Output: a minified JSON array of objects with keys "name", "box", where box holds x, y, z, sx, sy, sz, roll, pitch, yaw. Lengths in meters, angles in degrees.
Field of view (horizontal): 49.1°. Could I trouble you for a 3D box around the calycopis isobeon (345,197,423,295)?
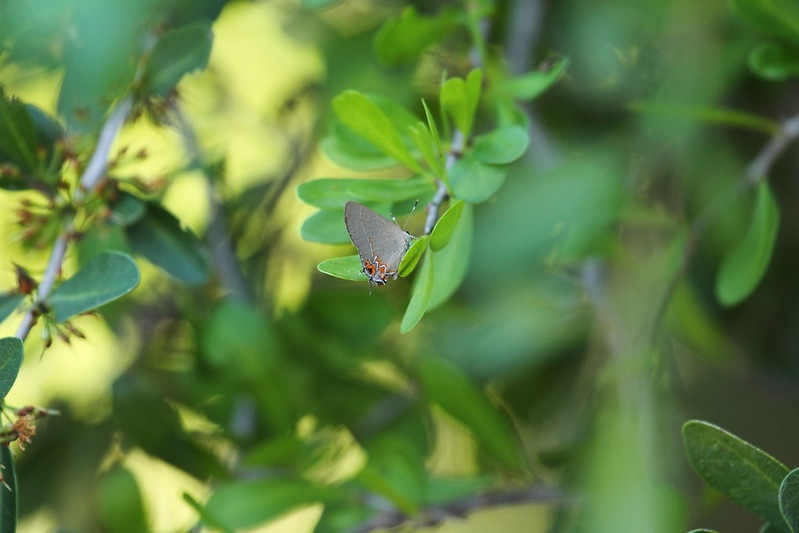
[{"name":"calycopis isobeon","box":[-0.033,-0.033,1.235,0.051,0.146,0.118,20,41,34]}]
